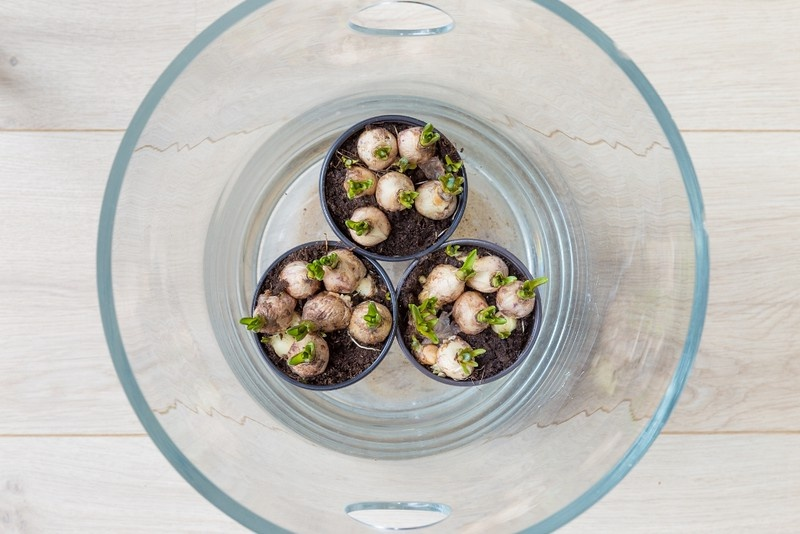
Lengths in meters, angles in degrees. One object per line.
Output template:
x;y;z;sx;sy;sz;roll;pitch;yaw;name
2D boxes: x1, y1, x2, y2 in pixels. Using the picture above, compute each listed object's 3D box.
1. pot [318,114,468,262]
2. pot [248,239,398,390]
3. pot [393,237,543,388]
-0.011;-0.159;1.623;0.332;0.210;0.286;16;97;-5;pot
-0.119;0.086;1.487;0.337;0.131;0.283;-2;99;-2;pot
0.139;0.076;1.547;0.345;0.120;0.280;-2;96;0;pot
